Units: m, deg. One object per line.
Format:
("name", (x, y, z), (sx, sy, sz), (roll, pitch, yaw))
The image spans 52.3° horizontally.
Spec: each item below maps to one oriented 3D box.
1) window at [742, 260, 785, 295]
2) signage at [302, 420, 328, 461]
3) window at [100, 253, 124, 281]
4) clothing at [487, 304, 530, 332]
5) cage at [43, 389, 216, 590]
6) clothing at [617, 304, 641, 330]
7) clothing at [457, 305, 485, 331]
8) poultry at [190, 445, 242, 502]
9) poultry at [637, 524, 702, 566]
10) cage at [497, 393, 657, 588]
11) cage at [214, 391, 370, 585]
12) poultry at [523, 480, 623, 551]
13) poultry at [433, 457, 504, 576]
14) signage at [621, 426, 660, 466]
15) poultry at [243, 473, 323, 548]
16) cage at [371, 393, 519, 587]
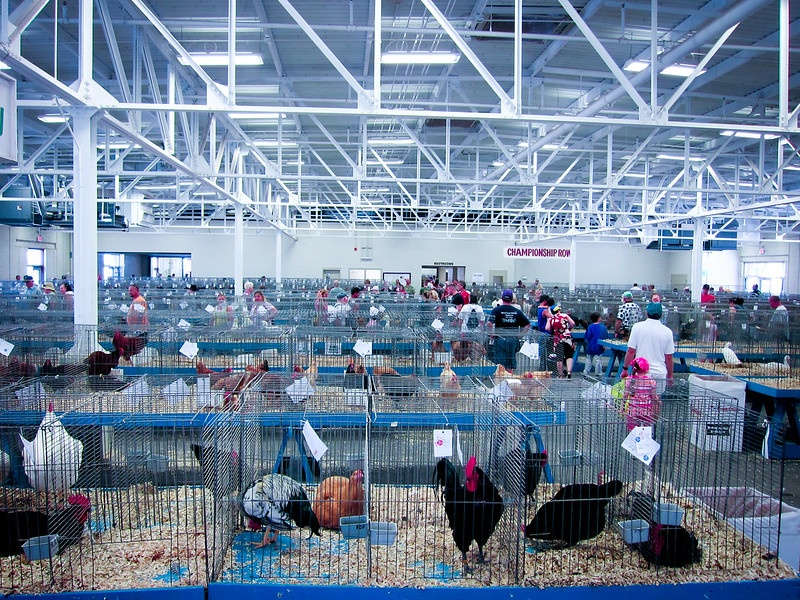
("window", (16.266, -1.062, 36.220), (2.442, 1.716, 2.629), (0, 0, 15))
("signage", (-0.862, 1.484, 8.421), (0.258, 0.519, 0.511), (-1, 2, -6))
("window", (-12.754, -1.468, 36.167), (0.786, 1.207, 1.622), (3, -13, -16))
("clothing", (1.900, 0.299, 14.082), (0.669, 0.718, 0.391), (3, 19, 12))
("cage", (-2.984, 2.255, 9.094), (2.183, 2.171, 1.611), (-1, -7, -2))
("clothing", (4.355, 0.335, 15.391), (0.396, 0.477, 0.254), (3, 11, 14))
("clothing", (1.390, 0.326, 15.387), (0.620, 0.760, 0.386), (1, -2, -2))
("poultry", (-1.849, 1.786, 8.402), (0.126, 0.552, 0.562), (-3, -6, 40))
("poultry", (2.840, 2.571, 8.456), (0.370, 0.197, 0.528), (-3, 1, -44))
("cage", (1.885, 2.146, 9.141), (1.397, 2.030, 2.605), (1, 1, 8))
("cage", (-1.169, 2.263, 9.265), (1.454, 2.061, 2.174), (1, -1, -2))
("poultry", (1.810, 2.178, 8.702), (1.039, 0.561, 0.678), (-26, 6, -1))
("poultry", (0.767, 2.207, 8.404), (0.628, 1.210, 0.319), (0, 2, 4))
("signage", (2.457, 1.483, 8.275), (0.356, 0.388, 0.183), (0, 2, 12))
("poultry", (-1.245, 2.255, 8.668), (0.885, 0.795, 0.680), (4, -2, 0))
("cage", (0.518, 1.976, 8.959), (1.622, 1.647, 1.688), (1, 5, -2))
